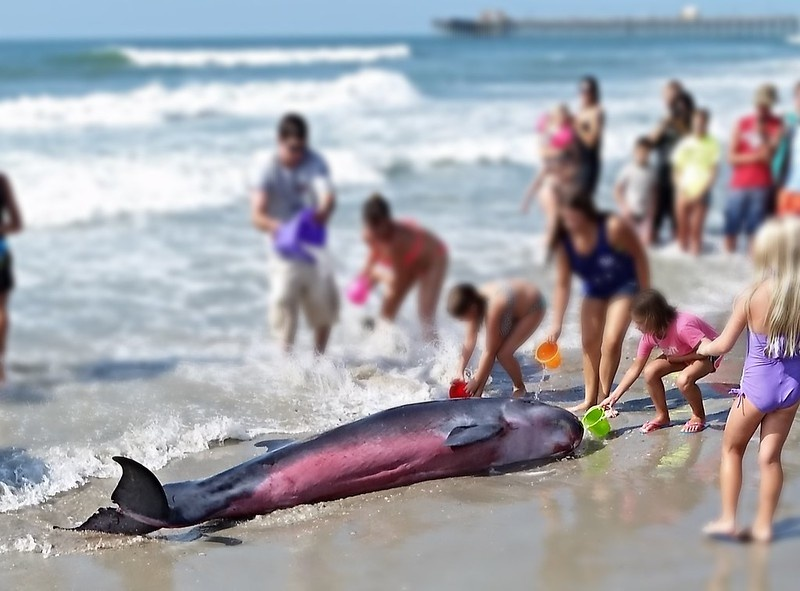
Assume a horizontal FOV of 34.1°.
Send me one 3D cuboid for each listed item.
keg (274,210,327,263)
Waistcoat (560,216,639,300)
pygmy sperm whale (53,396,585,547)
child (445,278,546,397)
[{"bbox_3d":[-0.930,-0.561,12.152,0.352,0.513,0.321,6,17,32],"label":"keg"},{"bbox_3d":[1.731,-0.268,11.203,0.499,0.781,0.418,0,11,26],"label":"Waistcoat"},{"bbox_3d":[-0.398,1.290,10.615,4.226,0.663,1.284,-9,1,-20],"label":"pygmy sperm whale"},{"bbox_3d":[0.891,0.392,11.704,0.938,1.140,0.489,-12,9,-22],"label":"child"}]
